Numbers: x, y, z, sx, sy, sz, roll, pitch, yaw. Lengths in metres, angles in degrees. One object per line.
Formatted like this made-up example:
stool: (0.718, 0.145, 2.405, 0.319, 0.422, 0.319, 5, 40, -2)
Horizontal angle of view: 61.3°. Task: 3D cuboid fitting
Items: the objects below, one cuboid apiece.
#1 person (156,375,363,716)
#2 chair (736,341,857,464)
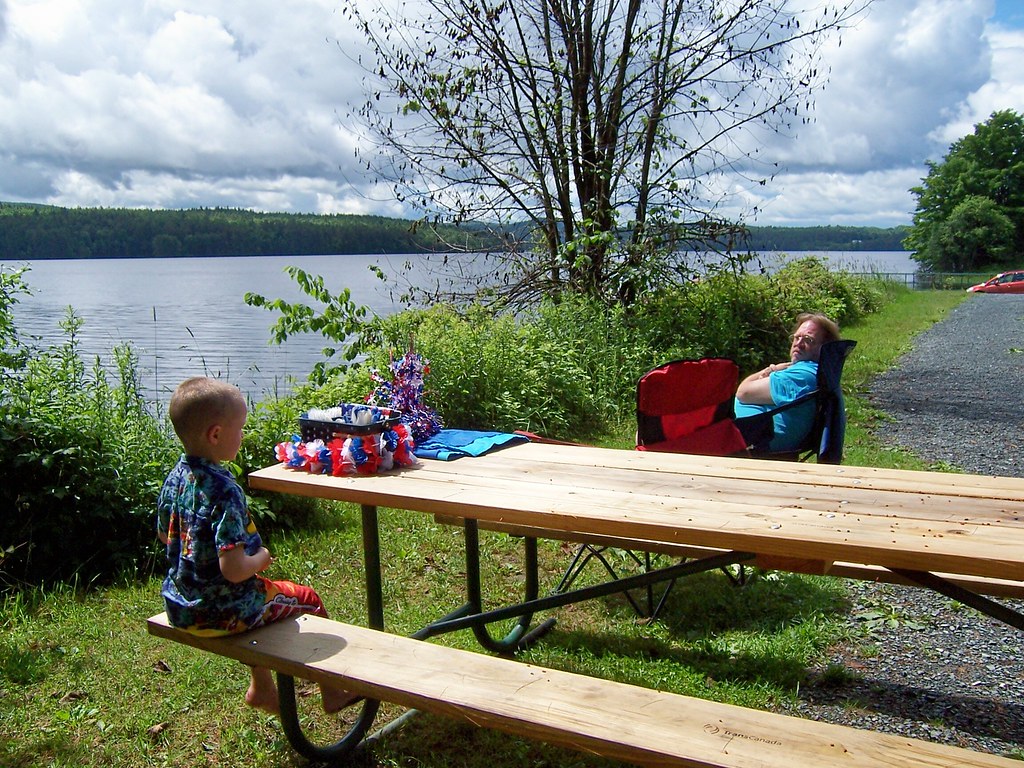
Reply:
person: (-1.051, 0.748, 3.856, 0.991, 1.488, 0.679, 0, -3, -30)
chair: (1.983, 0.099, 5.912, 0.801, 1.021, 0.752, 2, 1, 35)
